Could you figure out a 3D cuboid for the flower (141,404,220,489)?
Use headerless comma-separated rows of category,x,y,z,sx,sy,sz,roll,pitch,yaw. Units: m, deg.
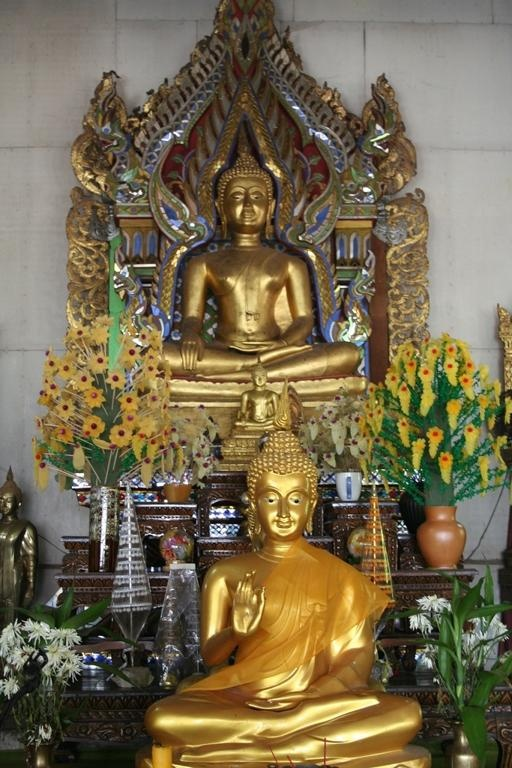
flower,-0.232,0.197,4.335,0.230,0.267,0.283,2,-7,-10

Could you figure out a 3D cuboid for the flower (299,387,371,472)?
flower,0.253,0.168,4.340,0.242,0.269,0.255,-3,-8,-4

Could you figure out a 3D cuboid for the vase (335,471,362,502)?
vase,0.281,0.315,4.143,0.091,0.091,0.089,6,-7,-43

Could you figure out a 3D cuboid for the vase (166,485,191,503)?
vase,-0.251,0.356,4.306,0.069,0.045,0.059,-1,-1,-17

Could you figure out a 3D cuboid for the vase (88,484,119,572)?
vase,-0.448,0.430,3.954,0.085,0.244,0.180,1,-4,-6

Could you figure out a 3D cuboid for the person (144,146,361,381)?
person,-0.025,-0.481,5.425,1.143,1.149,0.712,-1,1,-10

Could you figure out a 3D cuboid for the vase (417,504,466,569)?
vase,0.536,0.451,3.938,0.191,0.204,0.176,0,-16,0
